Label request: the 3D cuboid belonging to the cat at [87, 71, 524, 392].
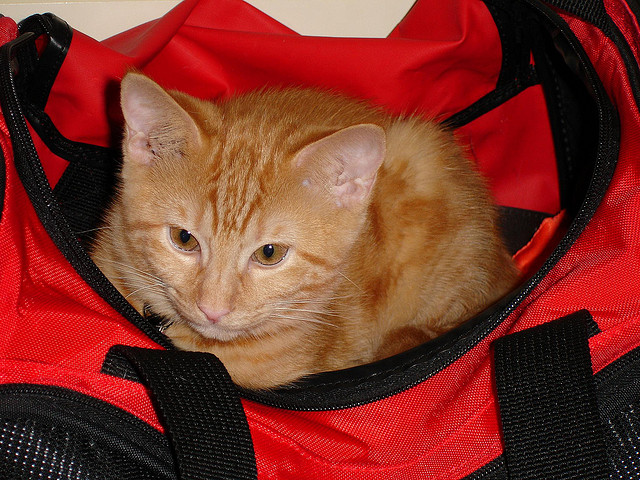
[{"bbox_3d":[0.004,-0.137,1.713,0.726,0.424,0.923,21,56,10],"label":"cat"}]
